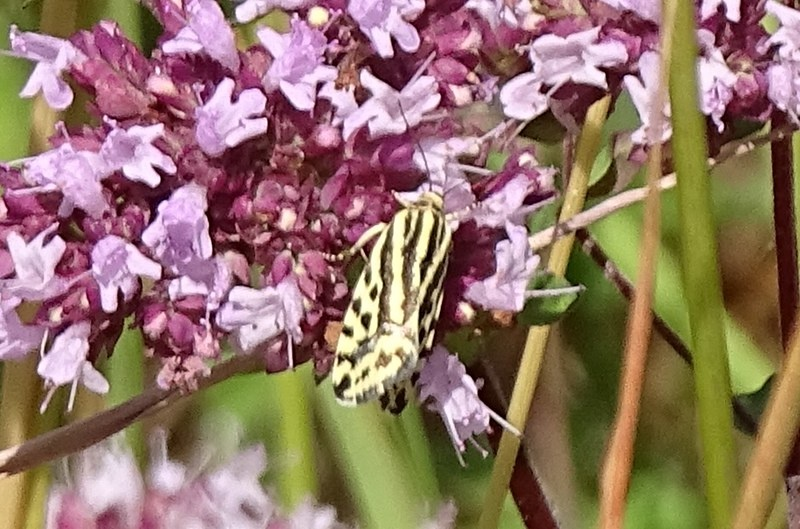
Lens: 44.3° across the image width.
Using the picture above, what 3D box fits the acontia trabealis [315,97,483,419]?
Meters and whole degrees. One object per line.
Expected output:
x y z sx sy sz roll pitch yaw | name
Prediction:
-0.004 -0.008 1.246 0.193 0.314 0.078 16 9 -21 | acontia trabealis
